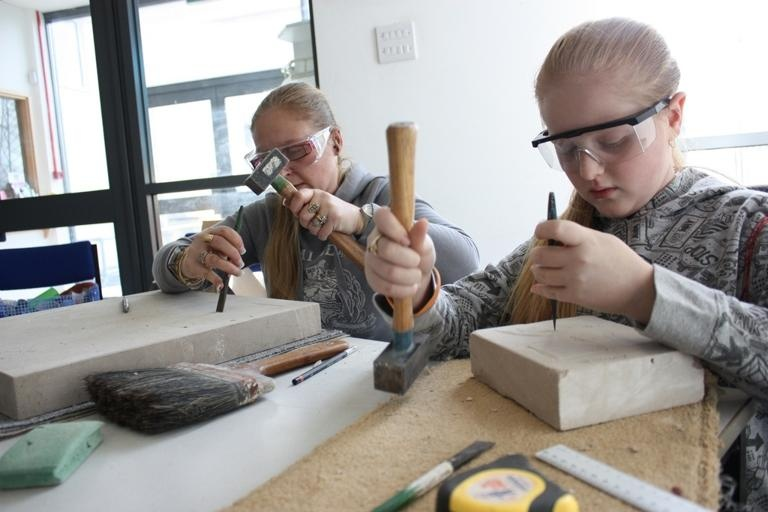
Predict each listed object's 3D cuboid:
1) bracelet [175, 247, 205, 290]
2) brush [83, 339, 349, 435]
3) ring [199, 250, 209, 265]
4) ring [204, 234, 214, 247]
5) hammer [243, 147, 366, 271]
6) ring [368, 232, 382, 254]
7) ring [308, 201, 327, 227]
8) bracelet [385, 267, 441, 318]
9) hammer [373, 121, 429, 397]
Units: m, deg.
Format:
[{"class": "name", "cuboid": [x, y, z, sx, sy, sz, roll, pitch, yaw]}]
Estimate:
[{"class": "bracelet", "cuboid": [-0.751, 0.055, 2.228, 0.064, 0.126, 0.143, 9, 30, -20]}, {"class": "brush", "cuboid": [-0.411, 0.351, 1.788, 0.833, 0.130, 0.433, -10, 6, -42]}, {"class": "ring", "cuboid": [-0.668, 0.004, 2.156, 0.016, 0.041, 0.032, 2, 5, 0]}, {"class": "ring", "cuboid": [-0.658, -0.062, 2.184, 0.038, 0.039, 0.039, -2, 28, 1]}, {"class": "hammer", "cuboid": [-0.245, -0.171, 1.953, 0.442, 0.386, 0.187, 4, 14, 37]}, {"class": "ring", "cuboid": [-0.024, -0.035, 1.582, 0.015, 0.055, 0.041, 1, 10, 5]}, {"class": "ring", "cuboid": [-0.237, -0.148, 2.008, 0.061, 0.081, 0.023, 11, 4, 6]}, {"class": "bracelet", "cuboid": [0.070, 0.110, 1.729, 0.162, 0.081, 0.124, -4, 46, 23]}, {"class": "hammer", "cuboid": [0.030, 0.019, 1.521, 0.150, 0.714, 0.277, -3, 12, 3]}]
